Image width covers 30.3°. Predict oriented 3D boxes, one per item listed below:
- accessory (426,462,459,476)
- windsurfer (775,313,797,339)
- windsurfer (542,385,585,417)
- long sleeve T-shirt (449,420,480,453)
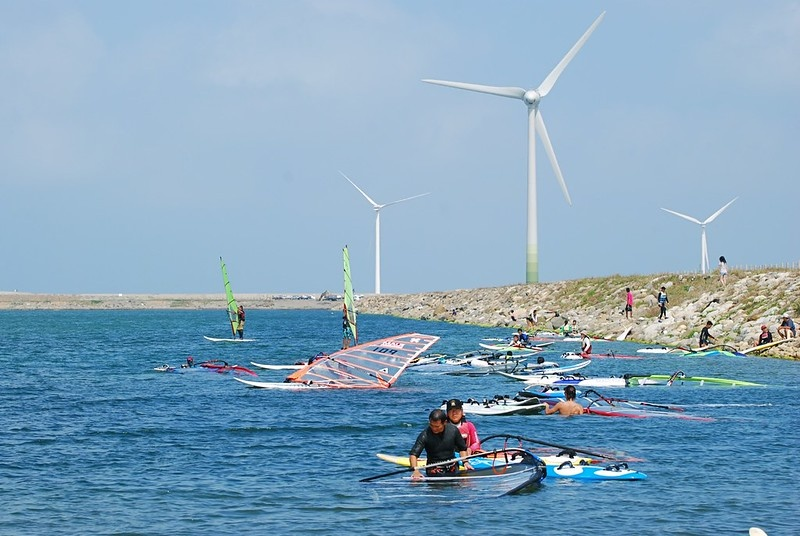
[{"bbox_3d":[1.889,8.996,65.359,1.056,0.454,0.730,-2,0,-22],"label":"accessory"},{"bbox_3d":[25.327,3.898,96.817,1.135,1.526,2.215,0,-5,15],"label":"windsurfer"},{"bbox_3d":[8.398,6.845,75.685,1.942,1.559,1.396,1,-4,1],"label":"windsurfer"},{"bbox_3d":[2.792,7.540,65.618,1.454,0.976,1.791,4,17,-35],"label":"long sleeve T-shirt"}]
